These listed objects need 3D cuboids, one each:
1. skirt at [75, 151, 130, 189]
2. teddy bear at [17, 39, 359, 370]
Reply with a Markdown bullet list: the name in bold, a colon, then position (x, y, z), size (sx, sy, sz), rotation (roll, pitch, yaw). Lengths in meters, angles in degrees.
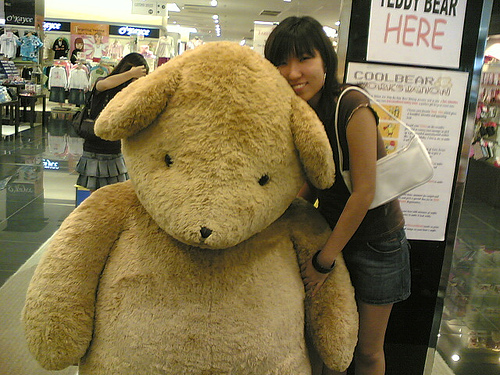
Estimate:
- **skirt**: position (-1.469, -0.209, 3.927), size (0.340, 0.337, 0.504), rotation (-13, 18, -40)
- **teddy bear**: position (-0.186, 0.093, 1.506), size (1.242, 1.276, 0.546), rotation (-2, 14, -20)
